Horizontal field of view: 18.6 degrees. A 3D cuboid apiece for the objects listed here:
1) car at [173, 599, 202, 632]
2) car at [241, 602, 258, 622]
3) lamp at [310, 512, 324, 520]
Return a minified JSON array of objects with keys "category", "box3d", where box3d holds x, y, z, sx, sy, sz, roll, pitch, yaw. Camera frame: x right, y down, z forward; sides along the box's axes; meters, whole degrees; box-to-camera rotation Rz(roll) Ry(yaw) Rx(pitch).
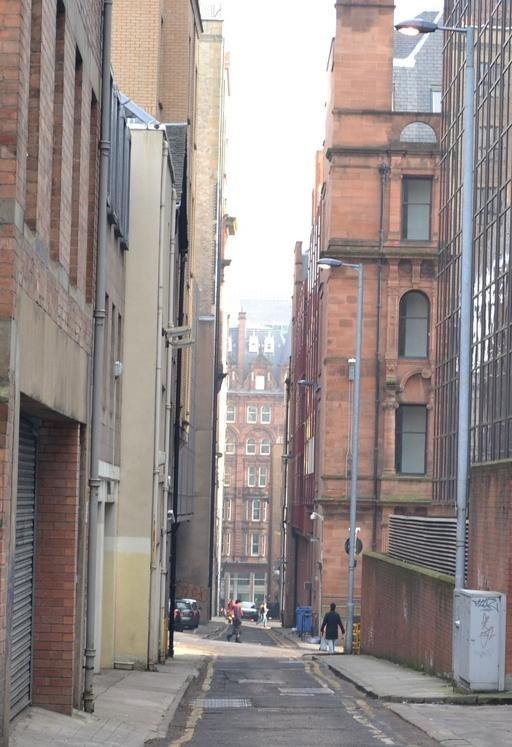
[{"category":"car","box3d":[-2.284,7.684,49.930,0.685,0.925,1.926,2,0,3]},{"category":"car","box3d":[-0.397,13.178,85.771,0.604,0.999,1.620,3,7,-3]},{"category":"lamp","box3d":[1.899,4.534,49.935,0.324,0.314,0.274,7,-9,-23]}]
